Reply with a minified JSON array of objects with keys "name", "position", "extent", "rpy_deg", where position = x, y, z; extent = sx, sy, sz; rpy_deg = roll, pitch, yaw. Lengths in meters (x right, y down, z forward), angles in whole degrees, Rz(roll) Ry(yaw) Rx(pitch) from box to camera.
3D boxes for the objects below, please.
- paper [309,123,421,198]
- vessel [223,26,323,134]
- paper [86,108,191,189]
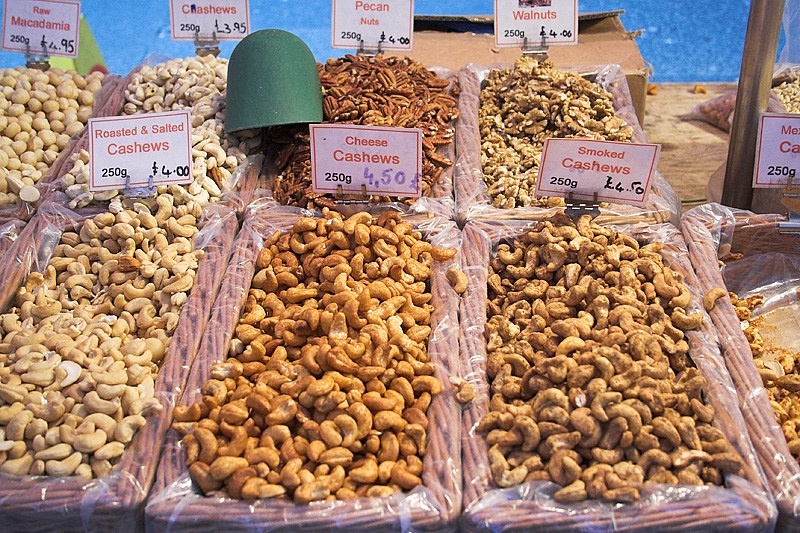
[{"name":"paper","position":[-0.149,-0.476,2.850],"extent":[0.395,0.267,0.009],"rpy_deg":[3,39,2]},{"name":"vessel","position":[-0.610,-0.950,3.263],"extent":[0.499,0.530,0.490],"rpy_deg":[-15,27,-24]},{"name":"paper","position":[-1.191,-0.534,2.962],"extent":[0.355,0.257,0.016],"rpy_deg":[-6,6,-5]}]
